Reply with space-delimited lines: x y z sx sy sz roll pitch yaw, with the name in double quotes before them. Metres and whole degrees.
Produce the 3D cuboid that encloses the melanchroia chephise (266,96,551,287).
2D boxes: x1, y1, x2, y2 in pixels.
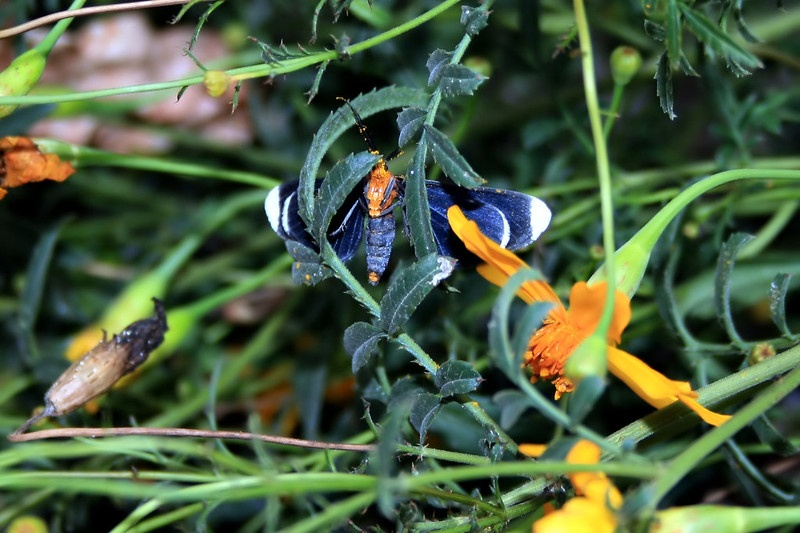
"melanchroia chephise" 0.046 -0.089 1.381 0.474 0.198 0.330 4 -48 16
